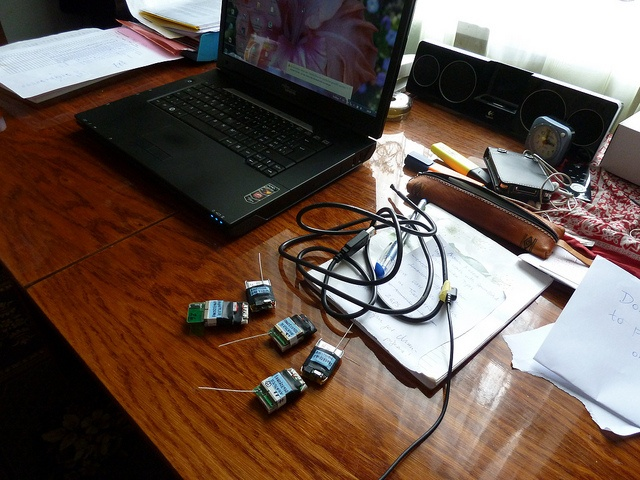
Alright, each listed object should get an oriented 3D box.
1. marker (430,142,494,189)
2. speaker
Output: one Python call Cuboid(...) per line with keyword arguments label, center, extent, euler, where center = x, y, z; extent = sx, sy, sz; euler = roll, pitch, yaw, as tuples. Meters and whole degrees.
Cuboid(label="marker", center=(0.264, -0.144, 0.845), extent=(0.043, 0.026, 0.151), euler=(3, 34, -38))
Cuboid(label="speaker", center=(0.517, -0.409, 1.156), extent=(0.570, 0.251, 0.397), euler=(20, 37, 25))
